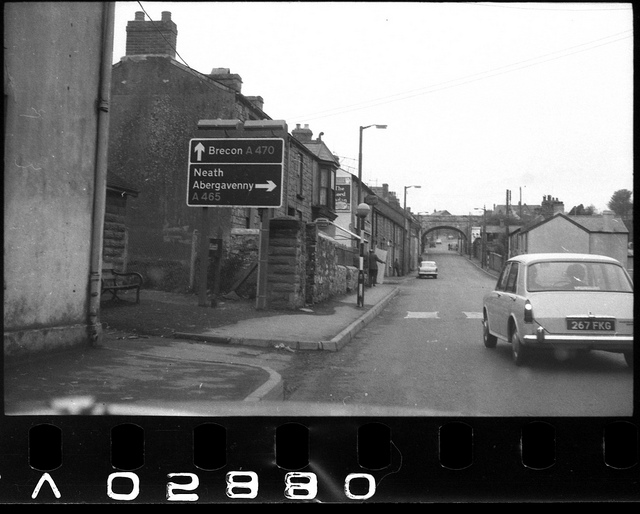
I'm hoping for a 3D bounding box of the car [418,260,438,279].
[{"bbox_3d":[6.244,0.707,38.273,0.699,0.676,1.747,1,6,10],"label":"car"}]

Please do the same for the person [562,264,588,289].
[{"bbox_3d":[2.856,0.218,7.401,0.201,0.307,0.911,1,2,13],"label":"person"}]

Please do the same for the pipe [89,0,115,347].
[{"bbox_3d":[-2.981,-1.183,9.068,0.292,4.731,0.559,0,1,-11],"label":"pipe"}]
